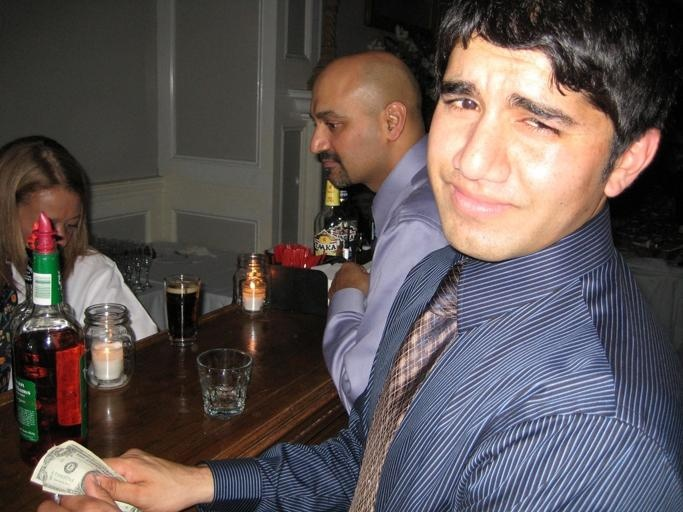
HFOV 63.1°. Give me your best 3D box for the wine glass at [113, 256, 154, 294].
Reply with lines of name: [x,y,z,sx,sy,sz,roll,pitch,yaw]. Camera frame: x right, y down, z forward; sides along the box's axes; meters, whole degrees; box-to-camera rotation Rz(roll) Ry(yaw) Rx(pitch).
wine glass: [-1.294,0.107,3.465,0.213,0.207,0.192,-6,13,-26]

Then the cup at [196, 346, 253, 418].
cup: [-0.333,0.353,1.592,0.156,0.151,0.167,1,3,0]
